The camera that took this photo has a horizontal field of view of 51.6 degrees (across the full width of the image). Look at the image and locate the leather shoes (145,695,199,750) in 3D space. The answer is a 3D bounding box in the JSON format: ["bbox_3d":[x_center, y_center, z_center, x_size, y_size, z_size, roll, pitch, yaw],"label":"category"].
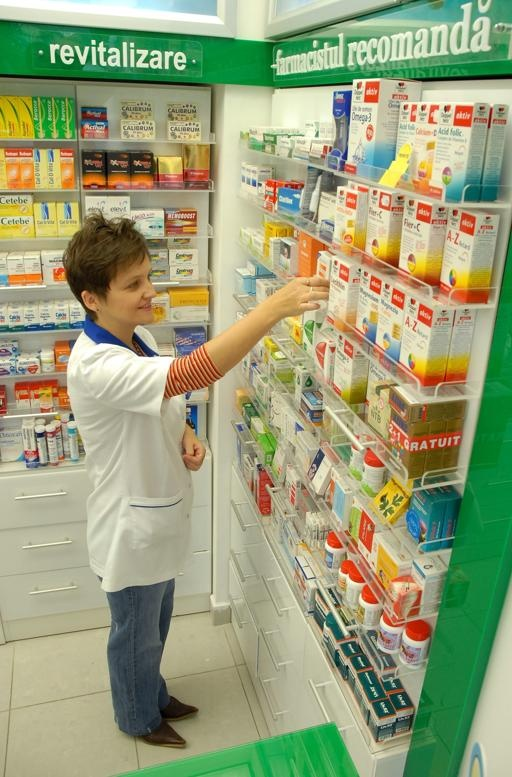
[{"bbox_3d":[-0.437,1.690,2.676,0.165,0.061,0.191,1,13,5],"label":"leather shoes"}]
